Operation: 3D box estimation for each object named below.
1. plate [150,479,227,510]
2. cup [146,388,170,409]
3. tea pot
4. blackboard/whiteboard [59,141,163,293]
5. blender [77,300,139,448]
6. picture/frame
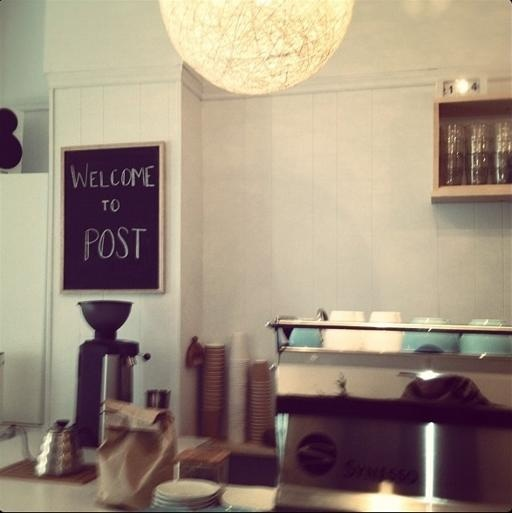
[{"bbox_3d":[-0.163,0.568,1.419,0.173,0.059,0.124,-3,0,-13],"label":"plate"},{"bbox_3d":[-0.326,0.469,1.967,0.079,0.057,0.121,-3,0,-12],"label":"cup"},{"bbox_3d":[-0.564,0.516,1.647,0.149,0.166,0.104,1,-2,-28],"label":"tea pot"},{"bbox_3d":[-0.567,-0.142,2.387,0.510,0.808,0.028,-2,-5,12],"label":"blackboard/whiteboard"},{"bbox_3d":[-0.474,0.375,1.910,0.201,0.412,0.274,-2,0,-34],"label":"blender"},{"bbox_3d":[-0.562,-0.137,2.386,0.516,0.818,0.029,-2,-5,12],"label":"picture/frame"}]
